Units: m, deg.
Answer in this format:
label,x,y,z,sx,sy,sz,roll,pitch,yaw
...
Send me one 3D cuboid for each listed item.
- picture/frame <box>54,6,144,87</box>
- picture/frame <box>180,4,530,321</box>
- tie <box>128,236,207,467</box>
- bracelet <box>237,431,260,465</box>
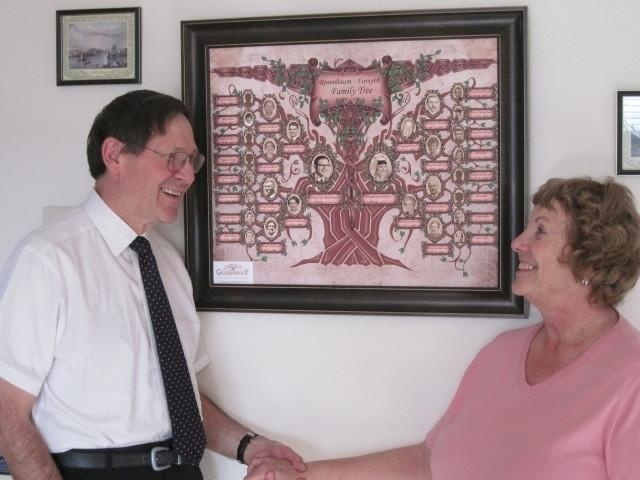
label,x,y,z,sx,sy,sz,roll,pitch,yaw
picture/frame,-0.797,-0.726,2.450,0.279,0.262,0.024,0,4,7
picture/frame,0.175,-0.306,2.366,1.058,0.967,0.091,-1,0,6
tie,-0.537,0.430,2.306,0.179,0.917,0.090,-12,-3,-44
bracelet,-0.265,0.733,2.367,0.060,0.105,0.100,10,29,28
